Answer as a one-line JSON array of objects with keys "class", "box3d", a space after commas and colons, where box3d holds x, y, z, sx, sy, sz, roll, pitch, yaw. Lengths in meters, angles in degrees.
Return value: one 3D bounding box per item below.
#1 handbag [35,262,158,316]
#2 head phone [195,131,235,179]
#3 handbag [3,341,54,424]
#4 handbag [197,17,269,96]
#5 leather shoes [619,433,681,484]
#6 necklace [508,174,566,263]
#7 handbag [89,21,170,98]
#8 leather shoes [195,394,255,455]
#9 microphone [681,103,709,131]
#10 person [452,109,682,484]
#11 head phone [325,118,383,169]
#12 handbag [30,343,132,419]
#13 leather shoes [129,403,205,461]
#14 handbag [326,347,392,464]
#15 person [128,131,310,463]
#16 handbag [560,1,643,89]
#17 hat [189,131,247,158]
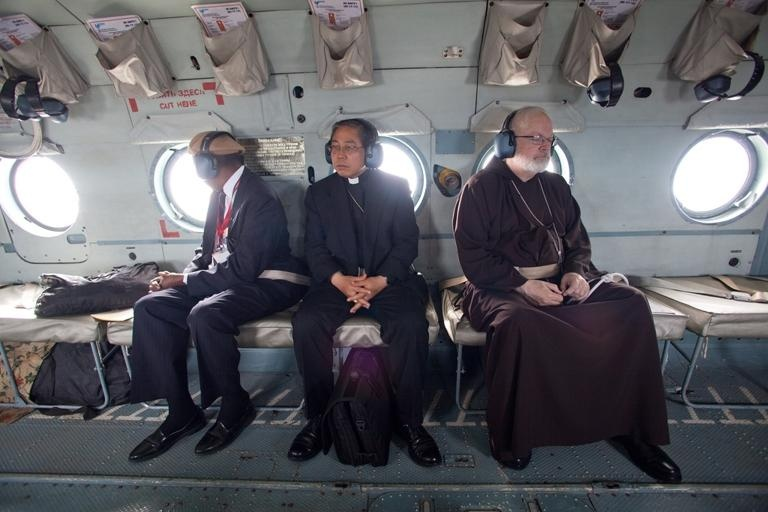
[{"class": "handbag", "box3d": [-2.700, 0.329, 4.663, 0.772, 0.245, 0.556, -5, 13, -29]}, {"class": "head phone", "box3d": [-1.542, -0.918, 4.552, 0.188, 0.355, 0.438, 0, 6, 6]}, {"class": "handbag", "box3d": [-3.410, 1.153, 4.696, 0.709, 0.585, 0.178, 4, 2, 3]}, {"class": "handbag", "box3d": [-1.416, -1.881, 4.832, 0.616, 0.669, 0.391, -9, 30, 4]}, {"class": "leather shoes", "box3d": [2.089, 1.626, 4.063, 0.523, 0.215, 0.185, 25, 66, 32]}, {"class": "necklace", "box3d": [1.350, -0.422, 4.577, 0.293, 0.982, 0.080, -19, -9, -13]}, {"class": "handbag", "box3d": [-2.450, -1.856, 4.866, 0.651, 0.691, 0.426, 4, 43, 20]}, {"class": "leather shoes", "box3d": [-1.376, 1.419, 4.343, 0.220, 0.238, 0.628, 14, 30, 21]}, {"class": "microphone", "box3d": [3.102, -1.395, 4.991, 0.236, 0.241, 0.039, -3, 10, 2]}, {"class": "person", "box3d": [1.438, 0.227, 4.216, 1.600, 3.012, 1.152, -3, 10, 3]}, {"class": "head phone", "box3d": [-0.293, -1.056, 4.668, 0.572, 0.447, 0.226, 6, 26, 17]}, {"class": "handbag", "box3d": [-2.918, 1.186, 4.782, 0.818, 0.690, 0.182, 2, -18, 2]}, {"class": "leather shoes", "box3d": [-1.810, 1.504, 4.330, 0.237, 0.254, 0.706, 19, 30, 40]}, {"class": "handbag", "box3d": [-0.199, 1.261, 4.200, 0.547, 0.863, 0.530, -4, 10, -2]}, {"class": "person", "box3d": [-1.524, 0.244, 4.446, 1.611, 2.723, 0.923, -9, 11, -27]}, {"class": "handbag", "box3d": [1.992, -1.977, 4.663, 0.653, 0.742, 0.272, -1, 10, 17]}, {"class": "hat", "box3d": [-1.554, -1.031, 4.583, 0.341, 0.124, 0.305, 5, 12, 9]}]
